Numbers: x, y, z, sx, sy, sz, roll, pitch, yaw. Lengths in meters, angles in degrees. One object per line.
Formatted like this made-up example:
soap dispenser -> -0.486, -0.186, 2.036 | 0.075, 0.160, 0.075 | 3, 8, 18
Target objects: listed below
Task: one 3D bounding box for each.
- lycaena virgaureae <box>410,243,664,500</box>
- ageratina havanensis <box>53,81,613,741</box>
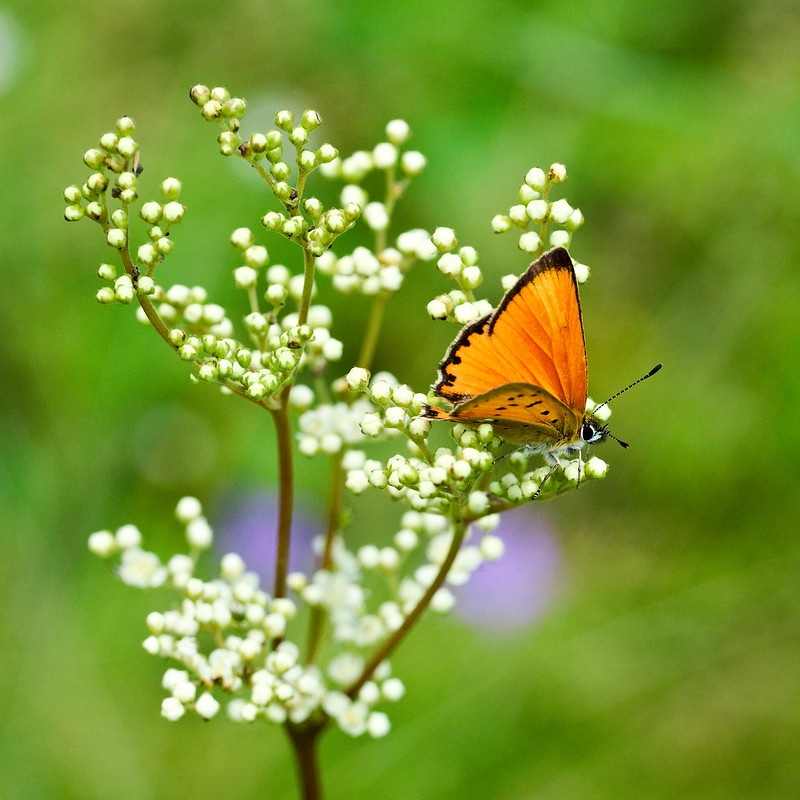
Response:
lycaena virgaureae -> 0.393, -0.318, 3.034 | 0.788, 0.909, 0.480 | 2, 24, 9
ageratina havanensis -> -0.423, 0.043, 3.247 | 1.564, 2.733, 1.098 | -17, 22, -29
